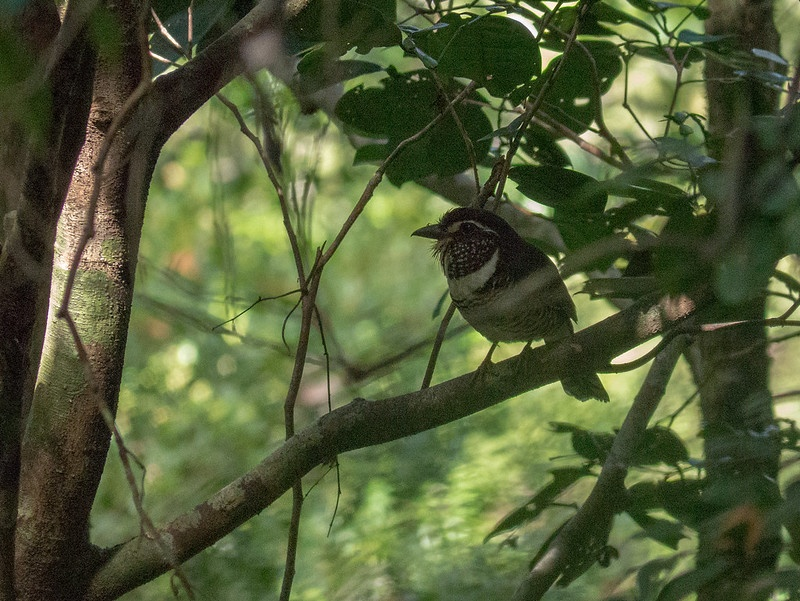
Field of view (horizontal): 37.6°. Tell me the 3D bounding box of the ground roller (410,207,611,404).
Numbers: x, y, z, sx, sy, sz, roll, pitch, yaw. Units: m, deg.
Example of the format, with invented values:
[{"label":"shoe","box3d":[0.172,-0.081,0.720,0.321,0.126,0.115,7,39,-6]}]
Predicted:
[{"label":"ground roller","box3d":[0.373,-0.008,3.880,0.841,0.479,0.372,10,-12,-38]}]
